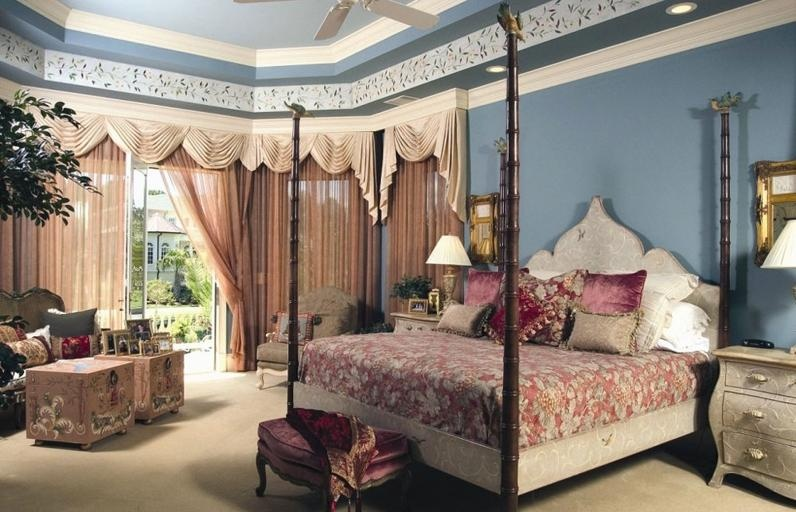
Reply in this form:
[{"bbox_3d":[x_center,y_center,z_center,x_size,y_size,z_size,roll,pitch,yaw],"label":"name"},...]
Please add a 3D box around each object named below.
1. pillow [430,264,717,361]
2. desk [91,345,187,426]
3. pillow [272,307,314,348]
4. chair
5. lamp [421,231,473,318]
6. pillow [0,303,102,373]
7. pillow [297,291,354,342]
[{"bbox_3d":[1.841,0.533,5.970,1.762,0.526,1.087,4,47,22],"label":"pillow"},{"bbox_3d":[-3.030,1.531,6.926,0.963,0.758,0.984,1,0,34],"label":"desk"},{"bbox_3d":[-1.323,0.933,7.526,0.584,0.599,0.195,-1,-5,1],"label":"pillow"},{"bbox_3d":[-1.268,1.151,8.134,1.342,1.362,1.324,2,-3,-11],"label":"chair"},{"bbox_3d":[0.653,0.238,7.507,0.599,0.974,0.597,2,-1,-37],"label":"lamp"},{"bbox_3d":[-3.999,0.985,6.988,0.957,0.475,1.101,-4,4,-45],"label":"pillow"},{"bbox_3d":[-1.053,0.845,8.702,0.613,0.873,0.722,-1,-7,8],"label":"pillow"}]
